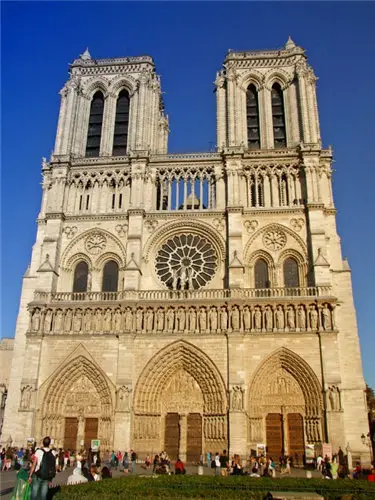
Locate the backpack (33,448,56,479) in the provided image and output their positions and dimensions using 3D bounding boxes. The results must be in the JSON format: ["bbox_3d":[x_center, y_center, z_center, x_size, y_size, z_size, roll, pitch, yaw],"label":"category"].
[{"bbox_3d":[-2.221,3.376,6.981,0.223,0.452,0.370,-13,-29,26],"label":"backpack"}]
